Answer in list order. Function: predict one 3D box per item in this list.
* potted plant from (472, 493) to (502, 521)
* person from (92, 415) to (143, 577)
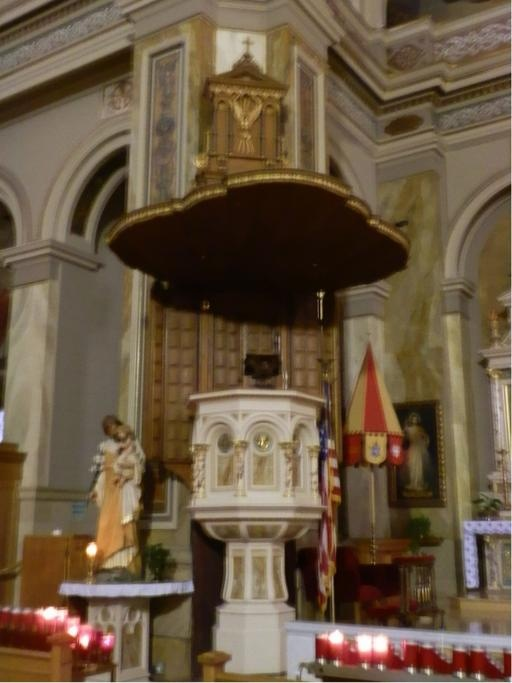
[{"bbox_3d":[2.643,1.913,8.385,0.342,0.254,0.343,13,-18,-40],"label":"potted plant"},{"bbox_3d":[-0.964,1.063,5.013,0.352,1.071,0.345,4,-13,-13],"label":"person"}]
